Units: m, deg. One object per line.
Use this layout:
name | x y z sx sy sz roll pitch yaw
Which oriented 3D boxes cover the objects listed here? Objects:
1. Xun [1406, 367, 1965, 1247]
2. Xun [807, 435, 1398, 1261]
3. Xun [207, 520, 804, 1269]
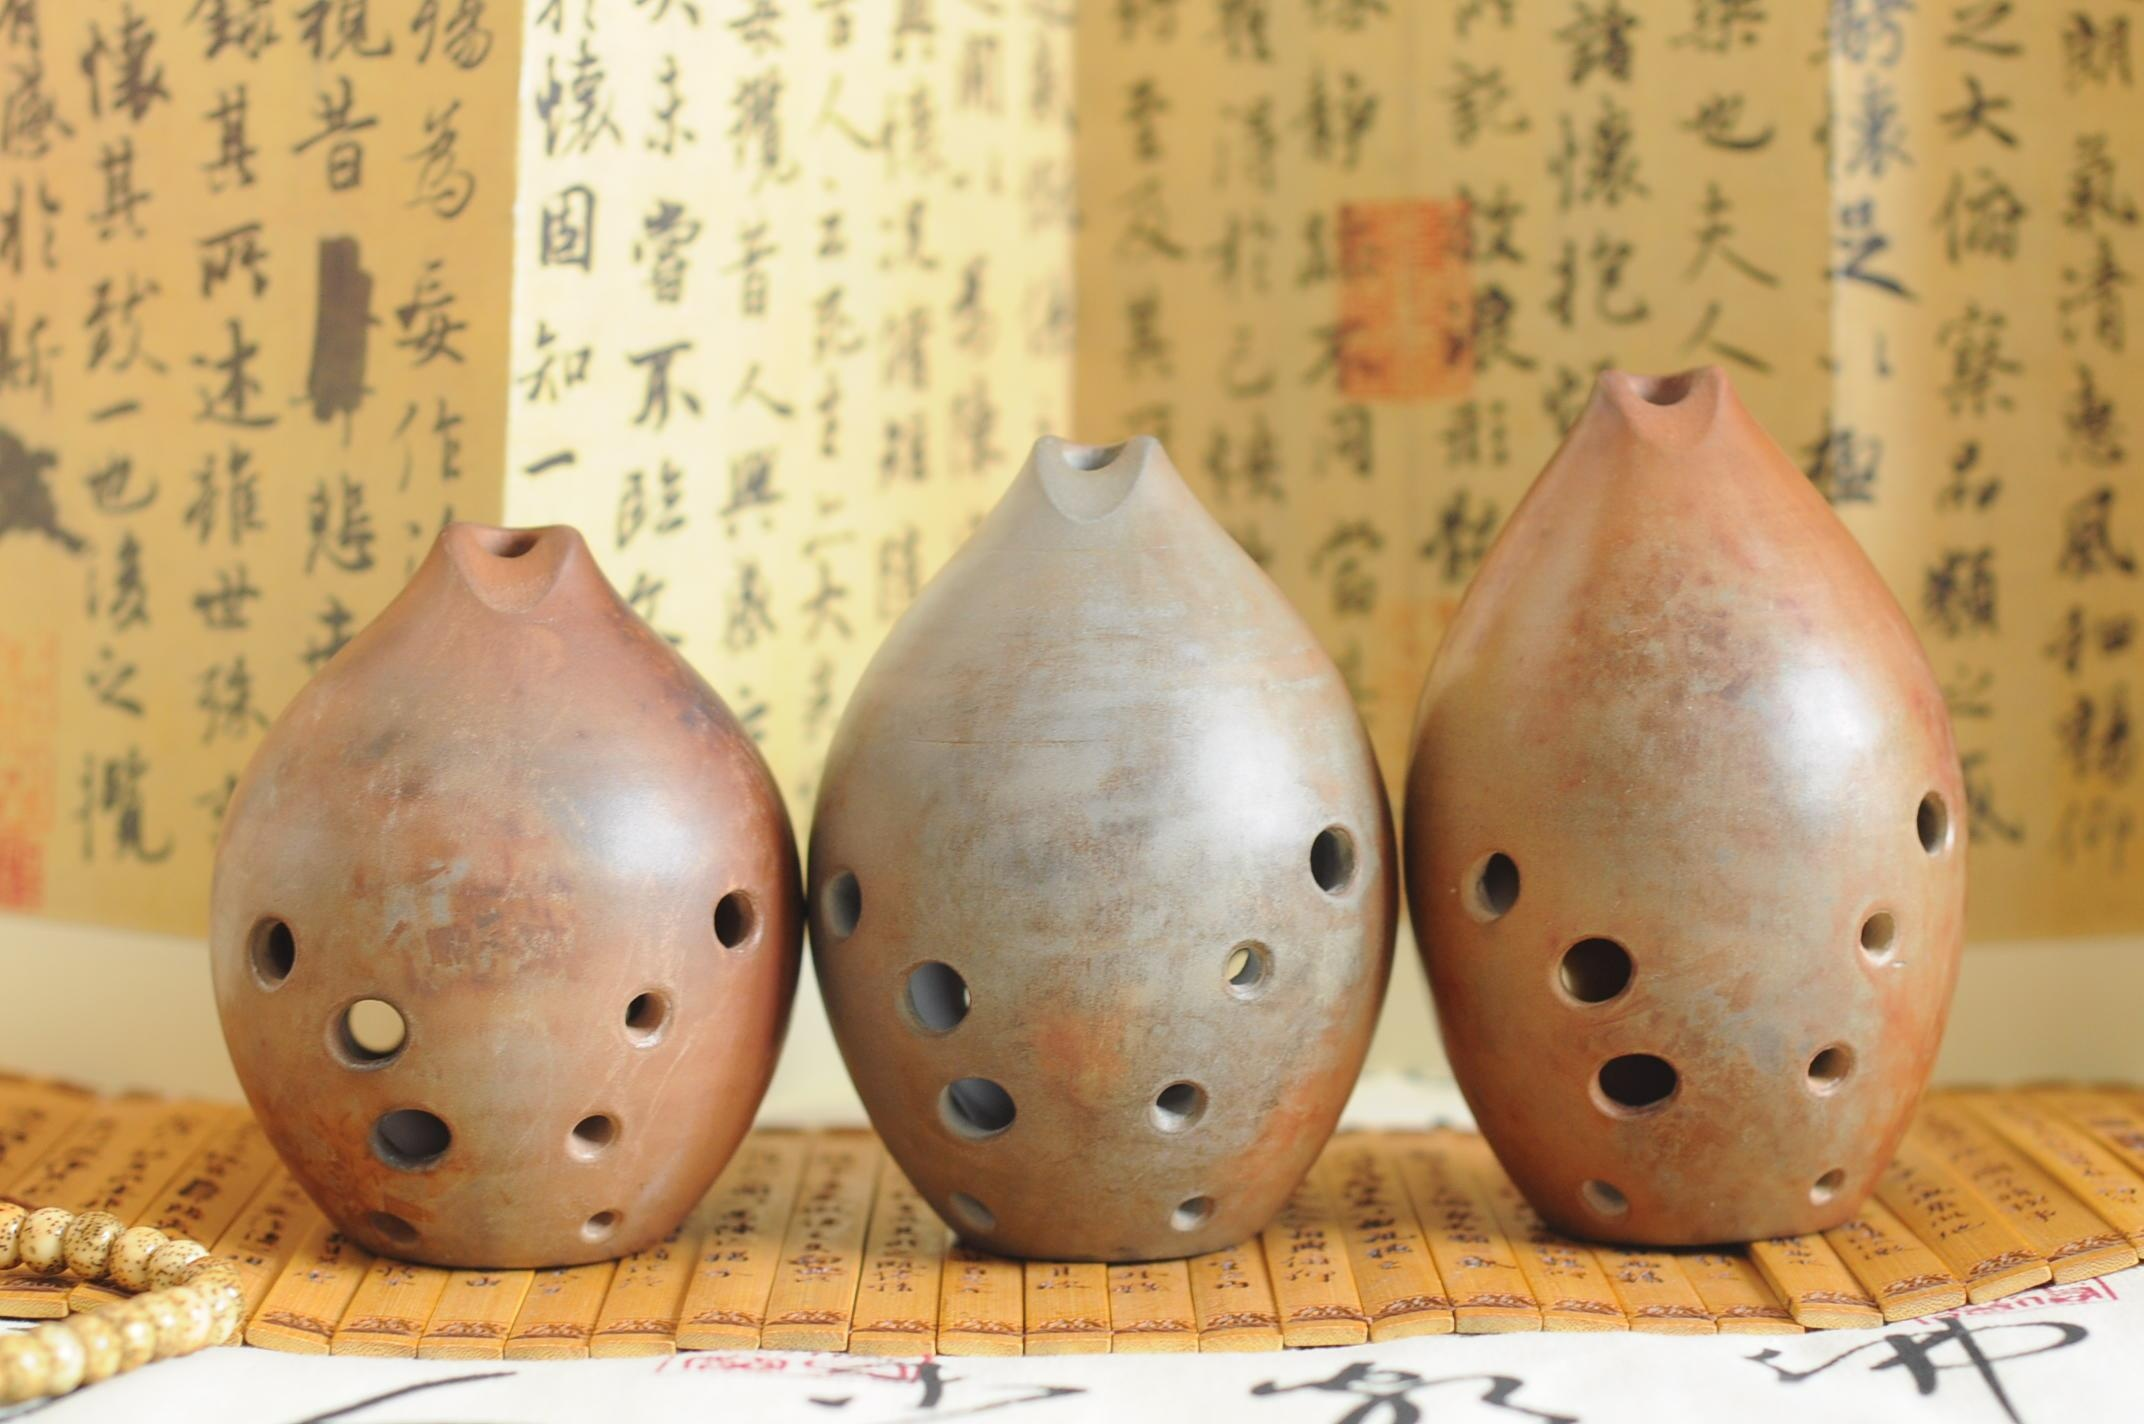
Xun | 0.662 0.103 2.976 0.591 0.913 0.338 4 16 19
Xun | 0.029 0.150 2.958 0.637 0.848 0.331 1 15 7
Xun | -0.577 0.170 3.202 0.664 0.931 0.694 1 1 43
